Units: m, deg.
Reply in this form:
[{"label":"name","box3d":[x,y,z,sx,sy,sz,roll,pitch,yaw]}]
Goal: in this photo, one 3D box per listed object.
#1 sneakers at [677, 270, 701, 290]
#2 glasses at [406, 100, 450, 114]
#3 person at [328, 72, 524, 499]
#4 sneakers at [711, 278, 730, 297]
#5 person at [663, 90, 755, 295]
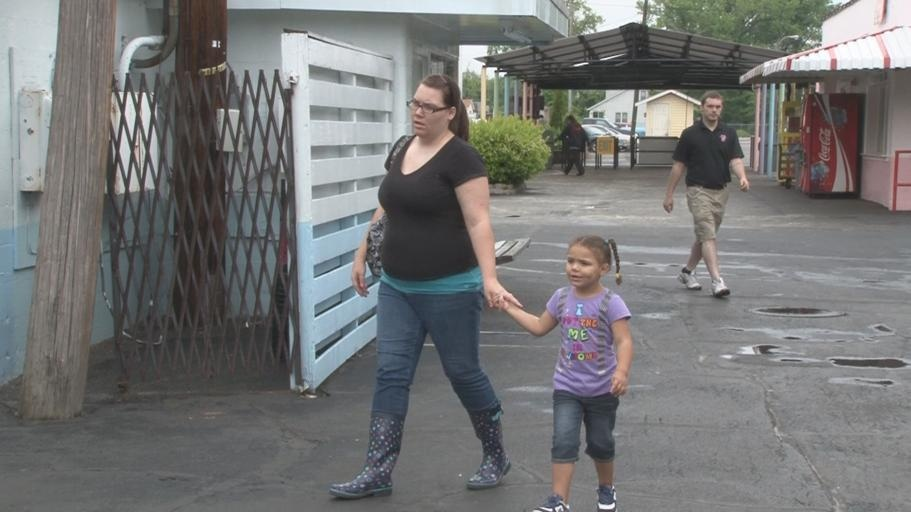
[{"label":"sneakers","box3d":[3.417,0.327,11.093,0.182,0.194,0.410,-8,26,-25]},{"label":"glasses","box3d":[-0.193,-1.090,5.543,0.274,0.104,0.108,3,9,20]},{"label":"person","box3d":[-0.186,0.231,5.611,1.255,3.083,0.725,0,8,3]},{"label":"sneakers","box3d":[3.671,0.455,10.579,0.156,0.184,0.421,-2,-5,0]},{"label":"person","box3d":[3.613,-0.940,10.916,1.060,2.819,1.455,2,9,18]}]
